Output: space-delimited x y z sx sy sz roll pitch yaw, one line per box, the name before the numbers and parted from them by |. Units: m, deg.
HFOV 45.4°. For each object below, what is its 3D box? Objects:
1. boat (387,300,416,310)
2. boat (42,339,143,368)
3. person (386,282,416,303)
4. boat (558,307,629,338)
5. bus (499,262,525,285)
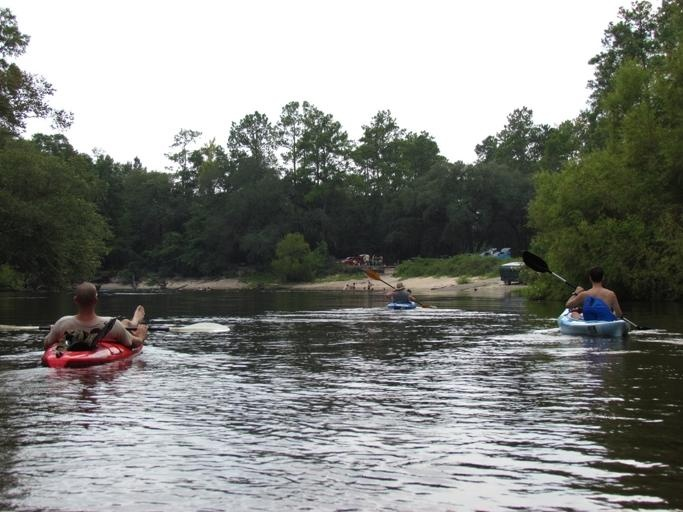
boat | 2.410 1.963 32.365 1.036 0.334 0.732 -1 -5 12
boat | -4.847 1.897 15.969 0.778 0.490 1.730 -4 -6 40
person | 2.435 1.540 33.267 1.063 0.554 1.489 -1 7 5
boat | 6.349 1.710 20.829 0.939 0.683 1.725 4 -6 -42
bus | 12.131 1.194 59.263 1.260 1.126 2.067 -2 -4 37
